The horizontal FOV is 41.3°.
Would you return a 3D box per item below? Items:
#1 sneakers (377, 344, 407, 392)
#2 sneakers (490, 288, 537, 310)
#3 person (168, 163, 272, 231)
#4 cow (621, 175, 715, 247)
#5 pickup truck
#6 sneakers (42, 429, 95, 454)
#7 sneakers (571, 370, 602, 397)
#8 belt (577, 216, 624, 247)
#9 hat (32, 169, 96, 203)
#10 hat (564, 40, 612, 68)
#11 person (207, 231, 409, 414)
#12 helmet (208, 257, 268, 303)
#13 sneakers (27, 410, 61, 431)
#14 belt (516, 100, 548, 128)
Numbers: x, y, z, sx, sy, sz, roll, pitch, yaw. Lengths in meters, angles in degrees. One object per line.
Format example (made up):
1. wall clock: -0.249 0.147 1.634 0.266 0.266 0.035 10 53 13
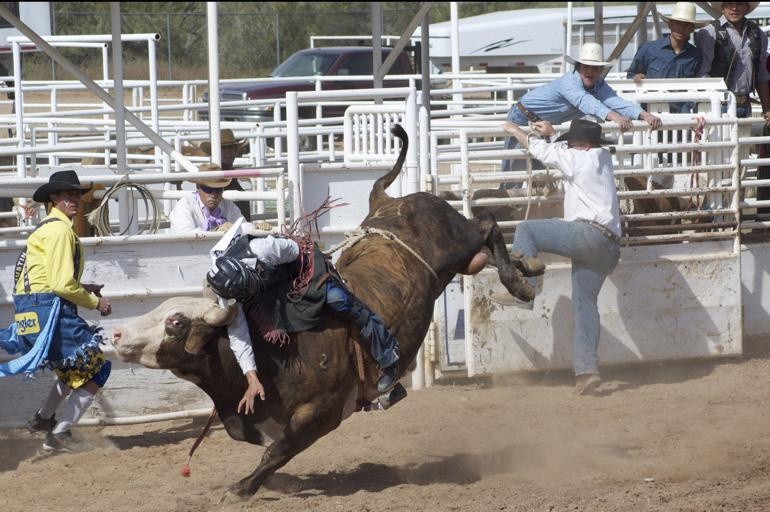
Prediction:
1. sneakers: 0.047 0.923 8.277 0.143 0.422 0.176 11 13 26
2. sneakers: 1.275 0.433 9.960 0.522 0.233 0.181 5 38 7
3. person: -1.665 -0.605 10.039 0.687 0.858 0.876 -6 5 -31
4. cow: 3.053 -0.562 11.172 0.944 0.689 1.186 -1 8 17
5. pickup truck: -1.232 -3.319 19.884 2.039 2.033 4.366 21 24 38
6. sneakers: -2.868 1.680 9.294 0.487 0.218 0.183 -1 5 -11
7. sneakers: 2.034 1.291 10.457 0.140 0.297 0.406 0 0 -36
8. belt: 2.143 -0.283 10.206 0.287 0.076 0.279 28 -16 27
9. hat: -2.882 -0.661 9.008 0.382 0.150 0.313 -3 -15 -35
10. hat: 2.180 -2.262 10.911 0.562 0.262 0.647 2 -8 11
11. person: -0.670 0.503 7.986 1.408 1.578 0.459 -5 8 -17
12. helmet: -1.122 0.135 7.732 0.374 0.303 0.336 17 3 -18
13. sneakers: -3.132 1.520 9.386 0.280 0.155 0.155 3 -2 -8
14. belt: 1.552 -1.462 10.779 0.389 0.096 0.243 43 -7 19
